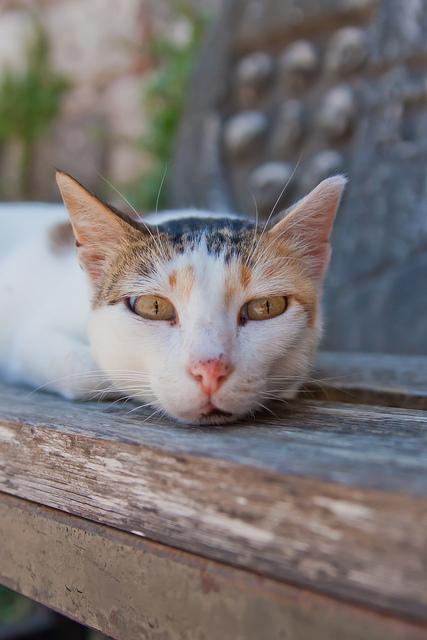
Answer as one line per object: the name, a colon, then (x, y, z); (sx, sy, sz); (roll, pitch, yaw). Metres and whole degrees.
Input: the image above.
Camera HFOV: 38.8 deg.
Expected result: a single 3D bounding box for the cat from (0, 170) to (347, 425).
cat: (-0.157, -0.036, 1.595); (0.604, 0.928, 0.362); (1, 88, -19)
